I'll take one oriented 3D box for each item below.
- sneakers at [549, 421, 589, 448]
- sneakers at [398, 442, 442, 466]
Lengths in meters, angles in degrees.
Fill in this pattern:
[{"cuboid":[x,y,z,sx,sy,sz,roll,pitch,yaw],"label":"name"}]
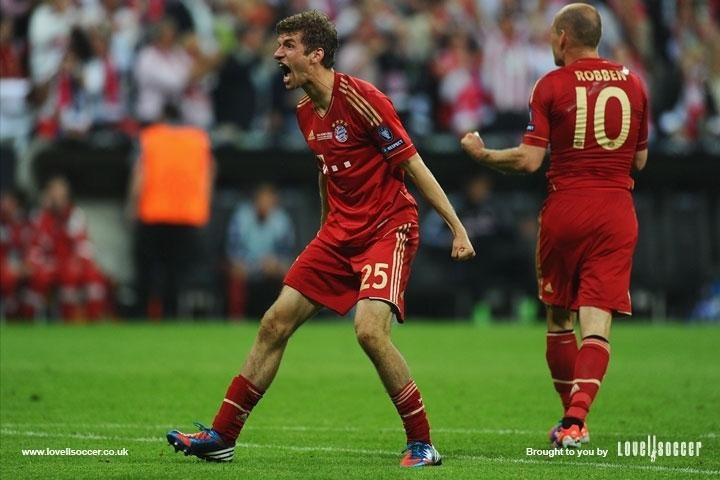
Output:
[{"cuboid":[2.301,2.091,12.356,0.273,0.236,0.451,0,2,25],"label":"sneakers"},{"cuboid":[0.650,2.275,12.306,0.482,0.249,0.202,-1,-5,-10],"label":"sneakers"}]
